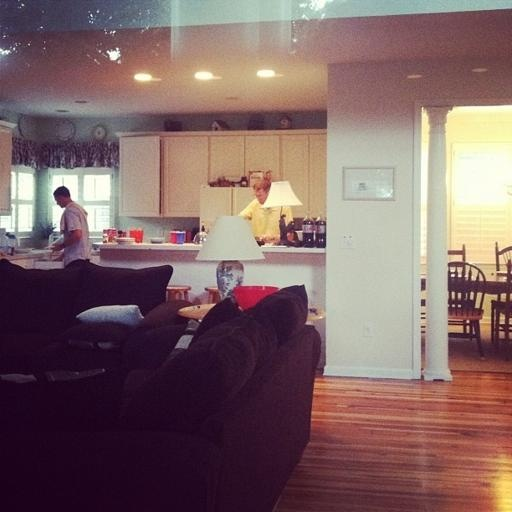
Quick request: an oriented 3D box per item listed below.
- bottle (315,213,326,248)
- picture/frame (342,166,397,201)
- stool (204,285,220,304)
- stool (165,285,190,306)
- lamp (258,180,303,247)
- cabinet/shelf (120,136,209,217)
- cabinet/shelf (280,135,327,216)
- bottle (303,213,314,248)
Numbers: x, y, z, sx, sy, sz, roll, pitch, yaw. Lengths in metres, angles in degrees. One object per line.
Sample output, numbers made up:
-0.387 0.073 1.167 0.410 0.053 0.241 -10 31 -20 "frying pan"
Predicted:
0.557 -0.208 4.439 0.089 0.264 0.187 0 1 5 "bottle"
0.931 -0.595 4.213 0.417 0.273 0.016 2 13 19 "picture/frame"
-0.370 0.331 4.457 0.157 0.160 0.153 0 1 -4 "stool"
-0.683 0.340 4.538 0.198 0.206 0.204 -1 2 -36 "stool"
0.217 -0.439 4.411 0.389 0.496 0.353 -1 -1 1 "lamp"
-1.125 -1.045 6.753 1.233 1.026 0.447 2 5 13 "cabinet/shelf"
0.612 -1.012 6.406 0.604 0.944 0.320 -1 1 -14 "cabinet/shelf"
0.458 -0.210 4.453 0.124 0.267 0.106 1 1 23 "bottle"
